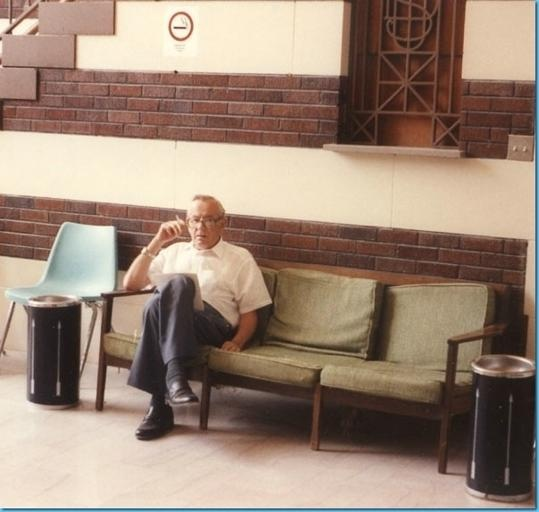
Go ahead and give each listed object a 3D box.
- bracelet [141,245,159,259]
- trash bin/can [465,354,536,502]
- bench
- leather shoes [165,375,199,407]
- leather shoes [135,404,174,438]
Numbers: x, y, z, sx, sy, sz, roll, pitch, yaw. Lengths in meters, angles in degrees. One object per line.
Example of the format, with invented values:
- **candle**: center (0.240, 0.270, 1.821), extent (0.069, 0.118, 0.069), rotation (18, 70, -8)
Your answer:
- **bracelet**: center (-0.752, -0.035, 3.829), extent (0.090, 0.035, 0.089), rotation (32, -20, -21)
- **trash bin/can**: center (1.018, 0.775, 2.676), extent (0.275, 0.584, 0.145), rotation (4, 8, 18)
- **bench**: center (0.371, 0.545, 3.423), extent (1.796, 0.855, 0.863), rotation (5, 8, 24)
- **leather shoes**: center (-0.450, 0.687, 3.088), extent (0.108, 0.130, 0.255), rotation (-2, 8, -23)
- **leather shoes**: center (-0.616, 0.880, 3.290), extent (0.140, 0.151, 0.218), rotation (3, 7, 13)
